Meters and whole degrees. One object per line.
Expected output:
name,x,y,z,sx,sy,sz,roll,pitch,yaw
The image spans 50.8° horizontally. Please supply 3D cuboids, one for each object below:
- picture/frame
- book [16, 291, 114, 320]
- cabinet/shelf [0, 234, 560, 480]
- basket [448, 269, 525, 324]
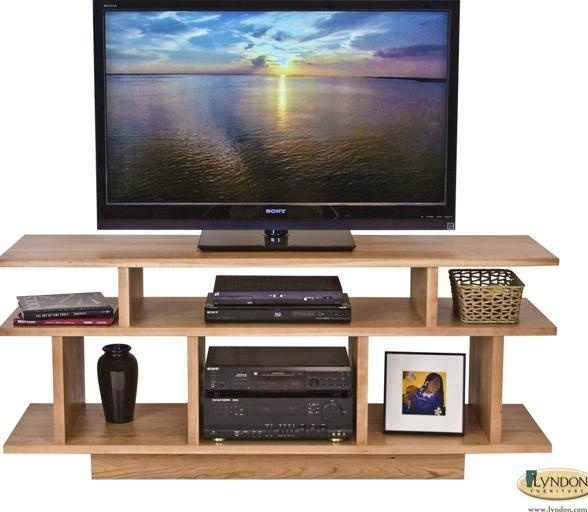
picture/frame,0.598,0.631,2.791,0.535,0.367,0.018,0,0,4
book,-0.990,0.213,2.642,0.338,0.047,0.286,-1,7,-15
cabinet/shelf,-0.049,0.467,2.793,2.455,1.034,0.882,-2,15,-9
basket,0.861,0.168,2.778,0.327,0.195,0.321,3,13,9
